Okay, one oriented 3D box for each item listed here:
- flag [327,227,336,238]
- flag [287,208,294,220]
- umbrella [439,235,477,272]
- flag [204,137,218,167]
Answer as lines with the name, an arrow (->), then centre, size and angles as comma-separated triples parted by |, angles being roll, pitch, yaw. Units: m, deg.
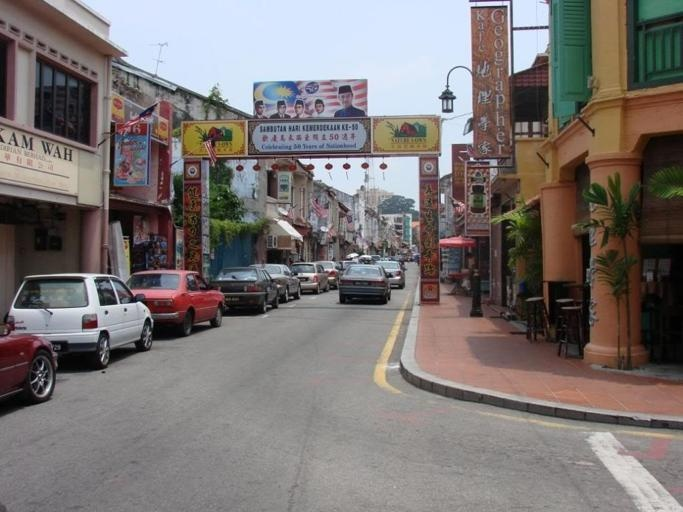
flag -> -1.299, -2.645, 71.636 | 1.188, 0.943, 3.501 | -3, 3, -4
flag -> -4.236, -3.482, 52.288 | 0.588, 1.135, 0.907 | 1, 0, 25
umbrella -> 7.381, -0.133, 42.138 | 2.729, 2.725, 2.944 | 0, 3, -15
flag -> -5.701, -4.610, 26.917 | 0.554, 1.244, 0.821 | -2, -2, -13
